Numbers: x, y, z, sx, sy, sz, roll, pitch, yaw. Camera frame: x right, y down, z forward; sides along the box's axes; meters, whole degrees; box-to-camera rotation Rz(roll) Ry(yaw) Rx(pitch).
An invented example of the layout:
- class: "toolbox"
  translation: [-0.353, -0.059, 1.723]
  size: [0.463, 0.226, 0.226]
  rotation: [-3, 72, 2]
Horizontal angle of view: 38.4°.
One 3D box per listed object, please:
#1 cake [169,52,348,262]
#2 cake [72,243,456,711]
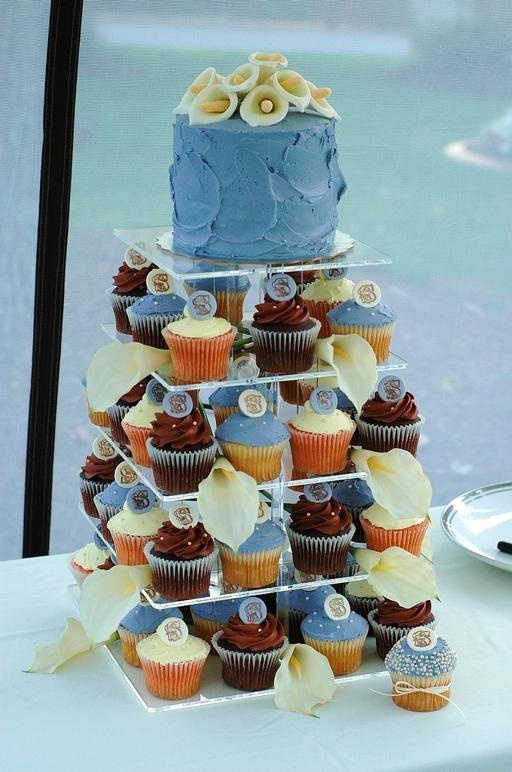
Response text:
- class: "cake"
  translation: [-0.026, -0.452, 1.473]
  size: [0.434, 0.380, 0.407]
  rotation: [-5, 25, -15]
- class: "cake"
  translation: [0.106, 0.206, 1.934]
  size: [0.911, 1.083, 0.901]
  rotation: [-4, -5, 34]
